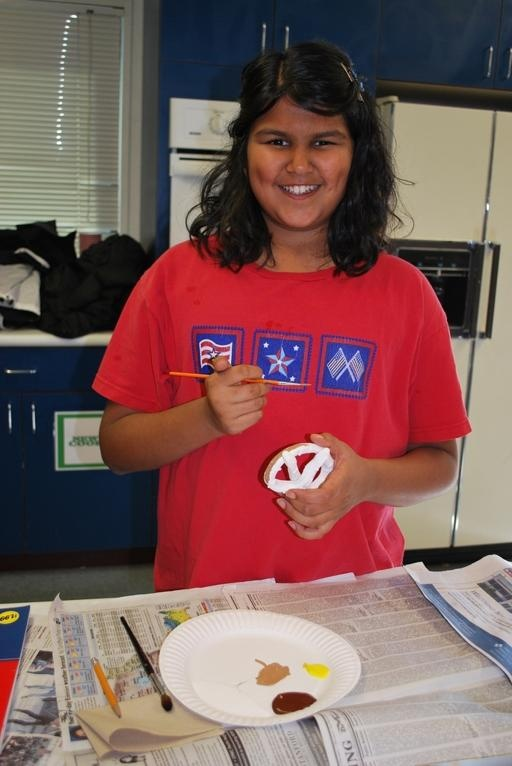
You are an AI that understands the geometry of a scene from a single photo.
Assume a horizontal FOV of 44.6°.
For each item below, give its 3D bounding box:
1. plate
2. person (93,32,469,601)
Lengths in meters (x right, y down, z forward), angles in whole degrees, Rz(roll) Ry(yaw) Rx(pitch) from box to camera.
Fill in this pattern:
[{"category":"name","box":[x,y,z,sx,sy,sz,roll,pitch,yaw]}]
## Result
[{"category":"plate","box":[0.003,0.315,0.695,0.221,0.030,0.201,2,6,-10]},{"category":"person","box":[0.046,-0.058,1.053,0.519,0.896,0.447,-2,8,-44]}]
